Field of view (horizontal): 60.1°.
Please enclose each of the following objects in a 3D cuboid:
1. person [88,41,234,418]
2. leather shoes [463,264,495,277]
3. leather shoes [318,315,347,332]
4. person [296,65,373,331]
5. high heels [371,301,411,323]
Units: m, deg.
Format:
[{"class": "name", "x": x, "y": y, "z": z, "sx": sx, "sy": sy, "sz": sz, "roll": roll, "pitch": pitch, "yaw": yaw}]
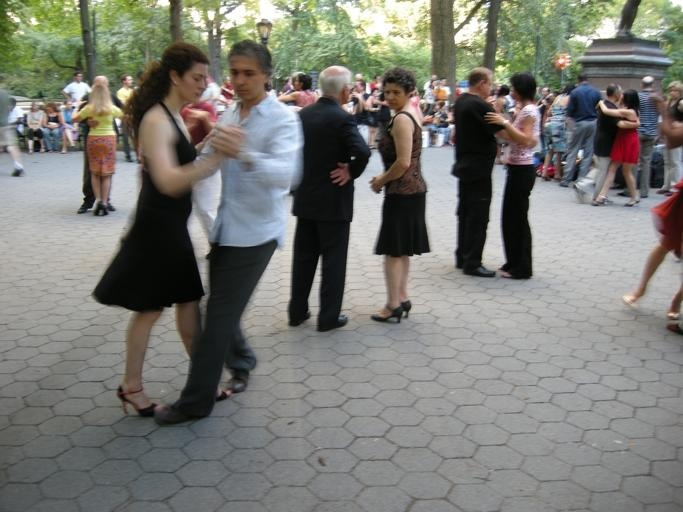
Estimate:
[{"class": "person", "x": -1.182, "y": -0.117, "z": 3.765, "sx": 0.864, "sy": 2.398, "sz": 0.636, "roll": -6, "pitch": 22, "yaw": -13}, {"class": "leather shoes", "x": 1.570, "y": 0.183, "z": 6.712, "sx": 0.401, "sy": 0.099, "sz": 0.125, "roll": 0, "pitch": 1, "yaw": 15}, {"class": "leather shoes", "x": -0.064, "y": 0.586, "z": 5.279, "sx": 0.114, "sy": 0.097, "sz": 0.318, "roll": 11, "pitch": 17, "yaw": 35}, {"class": "person", "x": -0.114, "y": -0.332, "z": 5.074, "sx": 0.660, "sy": 2.014, "sz": 0.591, "roll": 5, "pitch": 22, "yaw": 13}, {"class": "high heels", "x": 0.428, "y": 0.525, "z": 5.526, "sx": 0.384, "sy": 0.123, "sz": 0.192, "roll": 1, "pitch": 7, "yaw": 35}]
